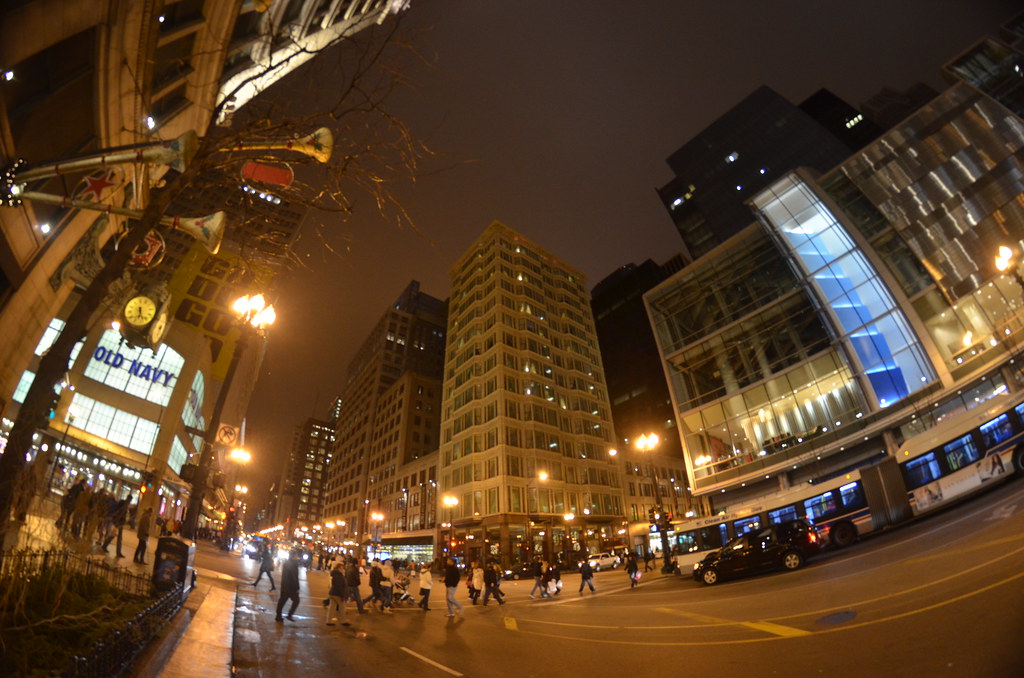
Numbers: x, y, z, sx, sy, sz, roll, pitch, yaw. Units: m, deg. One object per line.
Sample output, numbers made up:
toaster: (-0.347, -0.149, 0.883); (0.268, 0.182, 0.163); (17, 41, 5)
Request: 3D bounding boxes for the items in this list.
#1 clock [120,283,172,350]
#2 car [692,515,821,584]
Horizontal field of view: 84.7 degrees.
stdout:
clock: (-10.475, -0.717, 16.114); (0.749, 1.769, 1.802); (7, 10, 4)
car: (11.517, 10.256, 26.871); (5.158, 2.174, 2.842); (-17, -33, 25)
